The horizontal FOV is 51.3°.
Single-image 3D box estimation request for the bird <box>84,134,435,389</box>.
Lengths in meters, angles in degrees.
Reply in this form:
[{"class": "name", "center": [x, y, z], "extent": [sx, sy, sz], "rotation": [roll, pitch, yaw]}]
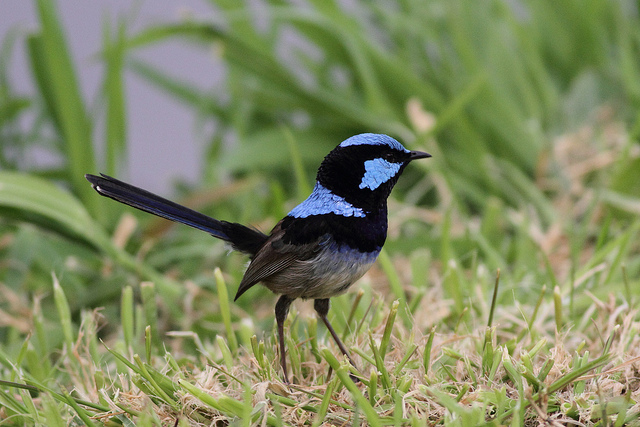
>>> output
[{"class": "bird", "center": [-0.528, 0.141, 3.516], "extent": [2.111, 1.429, 0.706], "rotation": [-1, -6, 4]}]
